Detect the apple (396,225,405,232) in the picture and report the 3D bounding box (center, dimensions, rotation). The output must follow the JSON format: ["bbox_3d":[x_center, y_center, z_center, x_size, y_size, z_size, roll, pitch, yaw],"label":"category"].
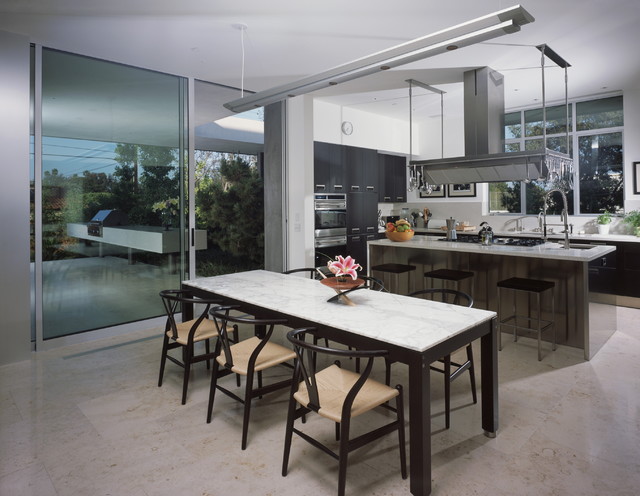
[{"bbox_3d":[1.059,-0.264,6.048,0.078,0.078,0.078,-3,-3,33],"label":"apple"}]

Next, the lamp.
[{"bbox_3d":[0.432,-1.486,3.614,2.240,0.395,0.253,10,17,39],"label":"lamp"}]

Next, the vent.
[{"bbox_3d":[2.169,-1.594,6.154,0.928,1.425,1.903,-20,18,-41],"label":"vent"}]

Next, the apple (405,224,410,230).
[{"bbox_3d":[1.163,-0.284,6.111,0.043,0.077,0.130,6,14,24],"label":"apple"}]

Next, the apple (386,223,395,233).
[{"bbox_3d":[0.937,-0.285,6.150,0.120,0.101,0.105,11,25,9],"label":"apple"}]

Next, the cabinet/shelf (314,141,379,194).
[{"bbox_3d":[0.417,-1.344,7.662,0.219,0.818,1.692,10,17,39],"label":"cabinet/shelf"}]

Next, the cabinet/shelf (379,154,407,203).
[{"bbox_3d":[1.569,-1.422,9.595,0.350,0.874,0.962,2,19,-4],"label":"cabinet/shelf"}]

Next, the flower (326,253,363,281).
[{"bbox_3d":[0.221,0.183,3.809,0.257,0.094,0.251,-7,49,-3],"label":"flower"}]
